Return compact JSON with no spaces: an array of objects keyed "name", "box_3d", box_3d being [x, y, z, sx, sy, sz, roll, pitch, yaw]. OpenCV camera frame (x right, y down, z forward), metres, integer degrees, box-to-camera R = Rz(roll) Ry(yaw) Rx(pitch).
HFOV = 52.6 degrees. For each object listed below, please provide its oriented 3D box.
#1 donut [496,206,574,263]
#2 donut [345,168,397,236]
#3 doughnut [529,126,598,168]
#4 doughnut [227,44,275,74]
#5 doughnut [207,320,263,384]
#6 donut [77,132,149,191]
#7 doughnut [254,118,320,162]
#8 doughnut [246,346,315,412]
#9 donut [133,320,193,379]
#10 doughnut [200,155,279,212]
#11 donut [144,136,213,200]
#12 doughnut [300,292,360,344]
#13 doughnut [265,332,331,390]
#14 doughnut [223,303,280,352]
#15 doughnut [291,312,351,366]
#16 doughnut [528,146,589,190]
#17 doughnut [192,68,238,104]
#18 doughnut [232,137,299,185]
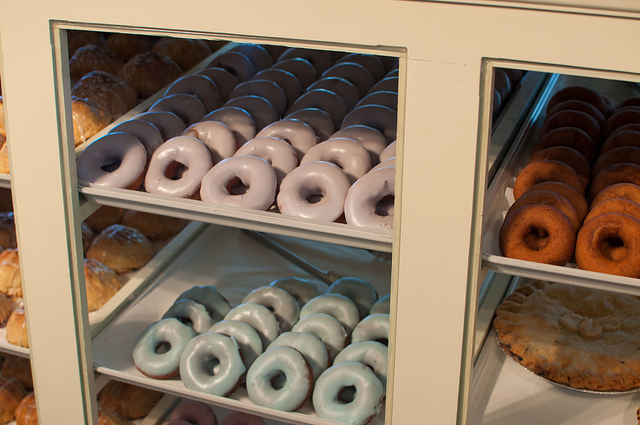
[{"name":"donut","box_3d":[0.511,0.050,1.530,0.178,0.136,0.077,7,-43,9]},{"name":"donut","box_3d":[0.120,-0.004,1.592,0.126,0.209,0.114,8,-43,6]},{"name":"doughnut","box_3d":[0.671,-0.187,1.774,0.108,0.045,0.124,-12,-34,25]},{"name":"doughnut","box_3d":[-0.204,-0.505,2.090,0.102,0.110,0.040,24,-52,18]},{"name":"doughnut","box_3d":[-0.226,0.384,1.806,0.138,0.165,0.056,-18,-19,20]},{"name":"donut","box_3d":[-0.548,-0.134,1.708,0.172,0.155,0.069,13,-43,3]},{"name":"doughnut","box_3d":[-0.111,-0.185,1.794,0.172,0.185,0.077,5,-60,31]},{"name":"doughnut","box_3d":[-0.110,0.434,1.744,0.169,0.067,0.199,-24,-92,19]},{"name":"donut","box_3d":[-0.445,0.395,1.835,0.172,0.163,0.069,44,-36,37]},{"name":"doughnut","box_3d":[-0.231,-0.083,1.687,0.169,0.196,0.069,-12,-19,18]},{"name":"donut","box_3d":[-0.371,-0.104,1.688,0.149,0.180,0.062,19,-9,14]},{"name":"doughnut","box_3d":[0.042,0.299,1.910,0.127,0.155,0.053,-18,-13,4]},{"name":"doughnut","box_3d":[-0.039,0.414,1.797,0.144,0.169,0.055,-25,-31,35]},{"name":"doughnut","box_3d":[-0.183,0.328,1.914,0.116,0.148,0.048,-2,-5,27]},{"name":"doughnut","box_3d":[0.017,0.390,1.909,0.066,0.201,0.185,0,-15,41]},{"name":"doughnut","box_3d":[0.657,-0.125,1.753,0.107,0.130,0.040,16,-19,20]},{"name":"doughnut","box_3d":[-0.315,-0.375,1.931,0.094,0.117,0.028,7,7,0]},{"name":"doughnut","box_3d":[-0.169,-0.143,1.764,0.163,0.172,0.071,15,-75,14]}]
